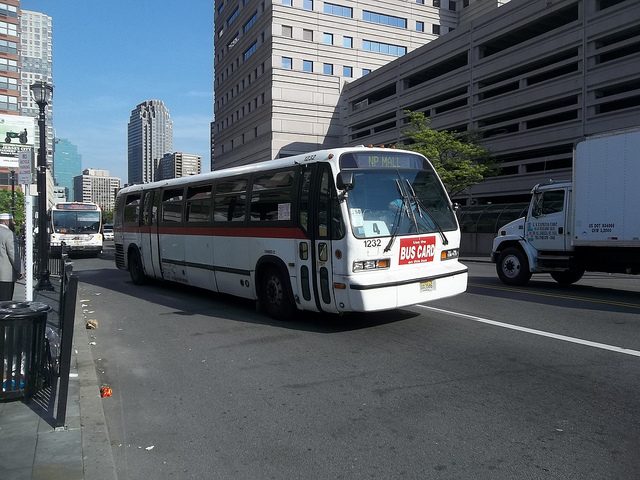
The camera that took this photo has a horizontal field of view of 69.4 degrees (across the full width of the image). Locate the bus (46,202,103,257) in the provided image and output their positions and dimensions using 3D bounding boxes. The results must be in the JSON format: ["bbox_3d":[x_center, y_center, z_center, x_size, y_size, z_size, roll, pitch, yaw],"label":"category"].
[{"bbox_3d":[-14.086,-0.672,26.440,2.636,3.659,7.958,0,-4,-34],"label":"bus"}]

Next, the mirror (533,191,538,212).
[{"bbox_3d":[6.391,-1.130,13.667,0.116,0.556,0.286,1,4,25],"label":"mirror"}]

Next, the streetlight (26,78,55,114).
[{"bbox_3d":[-8.449,-4.240,14.079,0.627,0.922,0.648,21,-6,-40],"label":"streetlight"}]

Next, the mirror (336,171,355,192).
[{"bbox_3d":[0.429,-0.963,7.697,0.433,0.407,0.253,2,-2,4],"label":"mirror"}]

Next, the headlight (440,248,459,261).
[{"bbox_3d":[2.497,0.271,8.847,0.076,0.209,0.650,3,5,43],"label":"headlight"}]

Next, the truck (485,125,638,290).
[{"bbox_3d":[7.135,-0.635,13.686,2.655,4.474,4.716,0,4,13],"label":"truck"}]

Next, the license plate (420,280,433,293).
[{"bbox_3d":[1.884,0.813,8.142,0.330,0.189,0.018,-4,5,-36],"label":"license plate"}]
